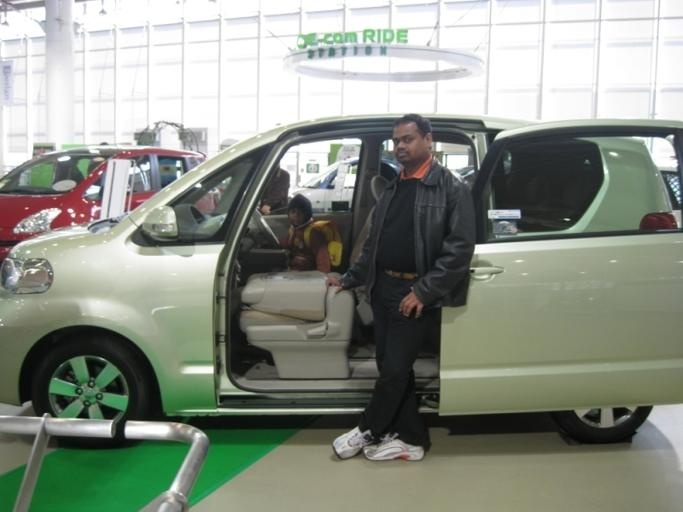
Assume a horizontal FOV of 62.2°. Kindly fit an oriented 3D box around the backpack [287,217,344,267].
[{"bbox_3d":[-0.193,-0.057,4.058,0.566,0.404,0.302,4,3,44],"label":"backpack"}]

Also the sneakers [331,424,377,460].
[{"bbox_3d":[0.064,1.012,3.091,0.294,0.113,0.124,-25,9,-9],"label":"sneakers"}]

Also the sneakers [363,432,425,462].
[{"bbox_3d":[0.291,1.042,3.108,0.384,0.174,0.125,3,-5,-2],"label":"sneakers"}]

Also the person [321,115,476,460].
[{"bbox_3d":[0.332,0.191,2.957,0.677,1.808,0.433,3,15,8],"label":"person"}]
